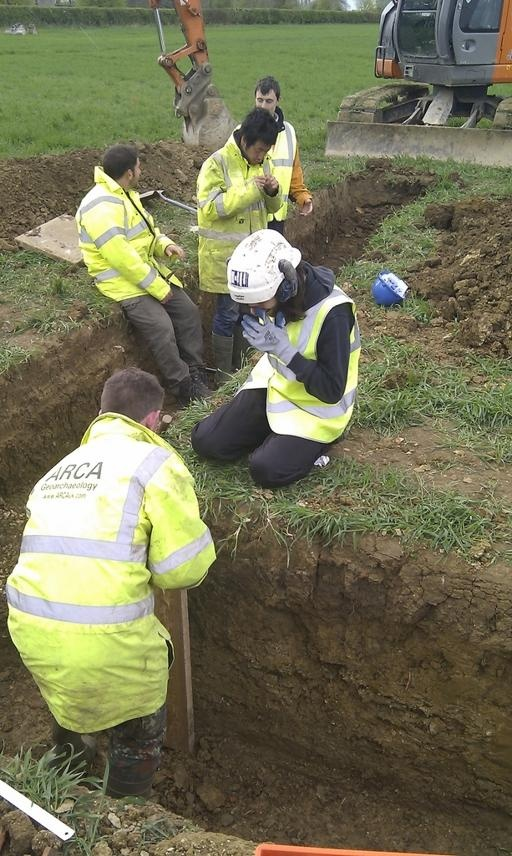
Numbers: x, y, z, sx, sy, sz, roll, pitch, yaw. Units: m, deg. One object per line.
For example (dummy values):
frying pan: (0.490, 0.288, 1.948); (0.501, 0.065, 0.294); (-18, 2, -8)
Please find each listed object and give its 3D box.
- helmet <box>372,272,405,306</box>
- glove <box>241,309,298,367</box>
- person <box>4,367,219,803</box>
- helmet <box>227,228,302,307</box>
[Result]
helmet: (0.968, -1.013, 5.456); (0.241, 0.138, 0.236); (30, 27, -34)
glove: (0.068, -0.394, 3.300); (0.231, 0.250, 0.209); (-1, 26, 8)
person: (-0.505, 0.666, 2.735); (0.455, 1.619, 0.716); (19, 35, 39)
helmet: (0.055, -0.674, 3.256); (0.273, 0.190, 0.349); (8, 54, 30)
